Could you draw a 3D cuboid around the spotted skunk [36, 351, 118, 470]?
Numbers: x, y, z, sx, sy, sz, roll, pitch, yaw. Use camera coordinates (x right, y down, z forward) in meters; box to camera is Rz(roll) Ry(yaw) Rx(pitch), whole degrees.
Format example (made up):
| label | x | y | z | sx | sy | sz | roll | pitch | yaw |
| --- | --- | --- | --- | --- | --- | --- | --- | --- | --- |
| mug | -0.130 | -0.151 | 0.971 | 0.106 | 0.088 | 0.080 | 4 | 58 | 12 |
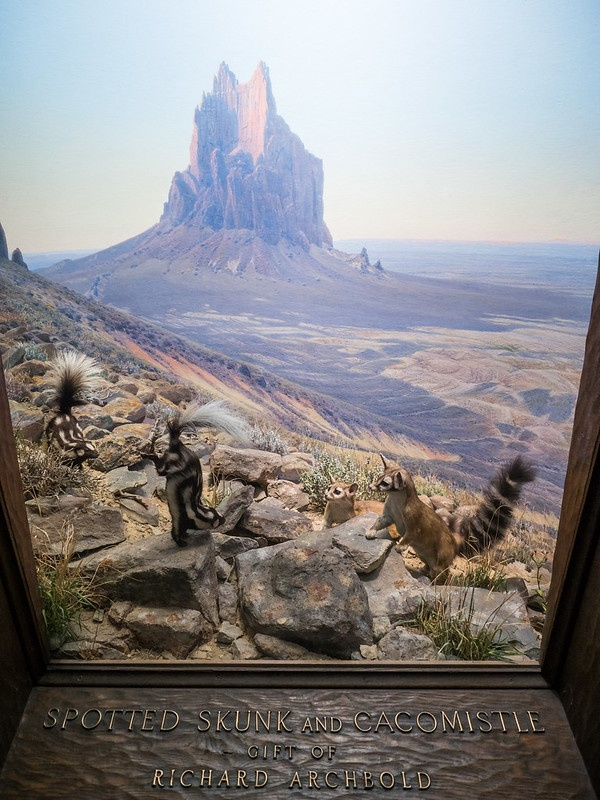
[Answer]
| label | x | y | z | sx | sy | sz | roll | pitch | yaw |
| --- | --- | --- | --- | --- | --- | --- | --- | --- | --- |
| spotted skunk | -1.965 | 0.133 | 4.924 | 0.500 | 0.944 | 0.893 | -5 | 19 | -20 |
